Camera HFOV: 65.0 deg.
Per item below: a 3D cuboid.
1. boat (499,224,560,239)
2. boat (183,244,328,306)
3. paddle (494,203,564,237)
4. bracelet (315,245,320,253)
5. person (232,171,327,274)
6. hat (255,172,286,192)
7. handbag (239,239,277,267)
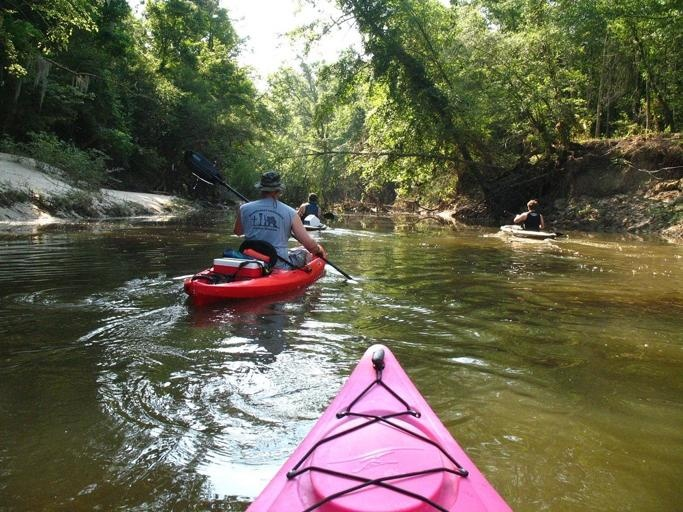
[{"bbox_3d":[5.137,-0.641,14.825,0.522,0.299,2.313,-1,5,-7],"label":"boat"},{"bbox_3d":[-1.048,0.218,7.103,0.687,0.443,2.043,11,6,26],"label":"boat"},{"bbox_3d":[5.493,-0.946,15.074,0.907,0.904,2.282,3,11,-5],"label":"paddle"},{"bbox_3d":[-0.335,-0.093,7.784,0.042,0.077,0.065,4,5,-37],"label":"bracelet"},{"bbox_3d":[-0.960,-0.407,7.619,1.074,0.954,1.637,5,-1,15],"label":"person"},{"bbox_3d":[-0.897,-0.967,7.019,0.302,0.138,0.299,14,19,27],"label":"hat"},{"bbox_3d":[-1.058,-0.078,6.955,0.370,0.383,0.085,-46,13,45],"label":"handbag"}]
